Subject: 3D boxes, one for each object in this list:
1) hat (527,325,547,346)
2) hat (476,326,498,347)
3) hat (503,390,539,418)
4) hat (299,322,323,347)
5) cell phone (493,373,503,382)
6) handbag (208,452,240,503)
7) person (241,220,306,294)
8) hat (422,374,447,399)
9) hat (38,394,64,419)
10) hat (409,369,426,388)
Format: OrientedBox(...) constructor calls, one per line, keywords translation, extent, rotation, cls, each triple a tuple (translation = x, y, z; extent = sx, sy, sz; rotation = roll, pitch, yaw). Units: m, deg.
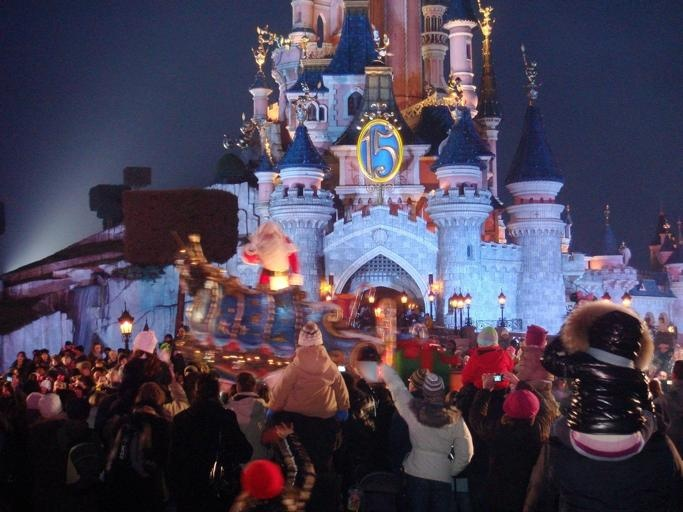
OrientedBox(translation=(1.984, 0.834, 8.555), extent=(0.236, 0.238, 0.191), rotation=(-4, -6, 23), cls="hat")
OrientedBox(translation=(1.493, 0.831, 8.345), extent=(0.194, 0.217, 0.217), rotation=(4, -13, -3), cls="hat")
OrientedBox(translation=(1.564, 1.317, 7.181), extent=(0.212, 0.175, 0.307), rotation=(3, 5, 18), cls="hat")
OrientedBox(translation=(-0.293, 0.764, 7.944), extent=(0.191, 0.191, 0.266), rotation=(0, -10, -6), cls="hat")
OrientedBox(translation=(1.423, 1.118, 7.545), extent=(0.109, 0.096, 0.057), rotation=(0, -2, 8), cls="cell phone")
OrientedBox(translation=(-0.961, 1.917, 6.982), extent=(0.300, 0.458, 0.121), rotation=(1, 3, -42), cls="handbag")
OrientedBox(translation=(-1.130, -0.021, 13.503), extent=(1.007, 1.124, 0.677), rotation=(3, 2, -7), cls="person")
OrientedBox(translation=(0.841, 1.174, 7.407), extent=(0.165, 0.185, 0.214), rotation=(1, -5, 2), cls="hat")
OrientedBox(translation=(-2.697, 1.381, 7.673), extent=(0.182, 0.191, 0.248), rotation=(-5, 17, -26), cls="hat")
OrientedBox(translation=(0.735, 1.167, 7.957), extent=(0.152, 0.097, 0.207), rotation=(26, 20, 3), cls="hat")
